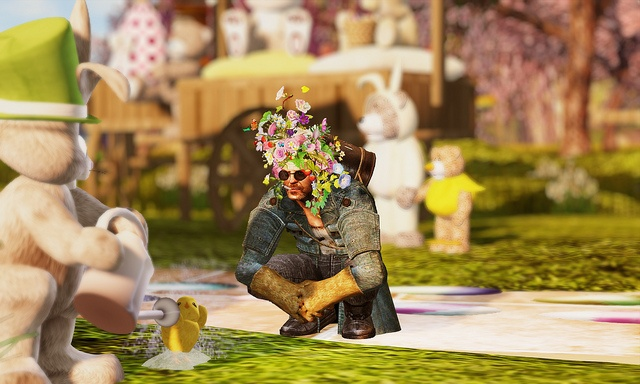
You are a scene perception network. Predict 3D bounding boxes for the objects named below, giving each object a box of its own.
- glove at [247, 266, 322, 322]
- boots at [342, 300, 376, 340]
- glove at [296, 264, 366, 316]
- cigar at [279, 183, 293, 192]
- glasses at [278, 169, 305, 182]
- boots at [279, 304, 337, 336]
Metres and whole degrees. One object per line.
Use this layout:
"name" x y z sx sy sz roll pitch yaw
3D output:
"glove" -0.286 0.814 7.322 0.509 0.404 0.209 31 -7 5
"boots" 0.347 1.080 7.729 0.205 0.393 0.418 -15 -7 16
"glove" 0.107 0.804 7.514 0.536 0.323 0.227 -29 -14 17
"cigar" -0.277 -0.052 7.563 0.058 0.031 0.073 31 -12 -20
"glasses" -0.224 -0.149 7.477 0.229 0.093 0.039 2 12 8
"boots" -0.119 1.093 7.820 0.213 0.223 0.593 -4 0 45
